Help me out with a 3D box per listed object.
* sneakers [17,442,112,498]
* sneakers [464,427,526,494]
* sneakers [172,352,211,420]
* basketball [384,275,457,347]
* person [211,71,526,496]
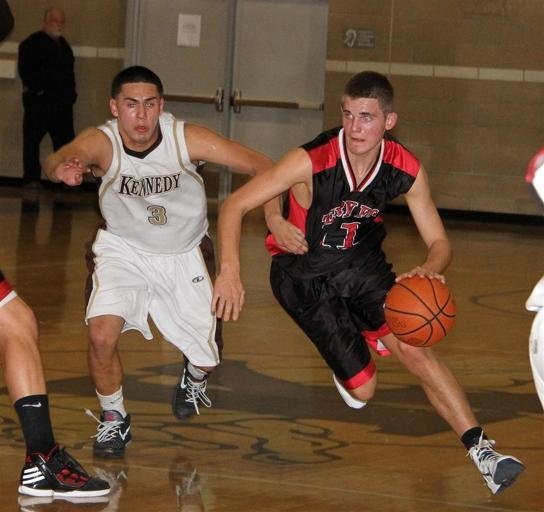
[{"bbox_3d":[-0.608,0.631,1.882,0.340,0.160,0.112,2,0,-11],"label":"sneakers"},{"bbox_3d":[0.649,0.599,1.906,0.092,0.193,0.271,-38,-32,-6],"label":"sneakers"},{"bbox_3d":[-0.318,0.546,2.605,0.106,0.232,0.156,15,-27,-35],"label":"sneakers"},{"bbox_3d":[0.459,0.206,2.177,0.264,0.231,0.239,8,-14,-4],"label":"basketball"},{"bbox_3d":[0.343,0.013,2.210,0.946,1.309,0.658,4,8,12],"label":"person"}]
